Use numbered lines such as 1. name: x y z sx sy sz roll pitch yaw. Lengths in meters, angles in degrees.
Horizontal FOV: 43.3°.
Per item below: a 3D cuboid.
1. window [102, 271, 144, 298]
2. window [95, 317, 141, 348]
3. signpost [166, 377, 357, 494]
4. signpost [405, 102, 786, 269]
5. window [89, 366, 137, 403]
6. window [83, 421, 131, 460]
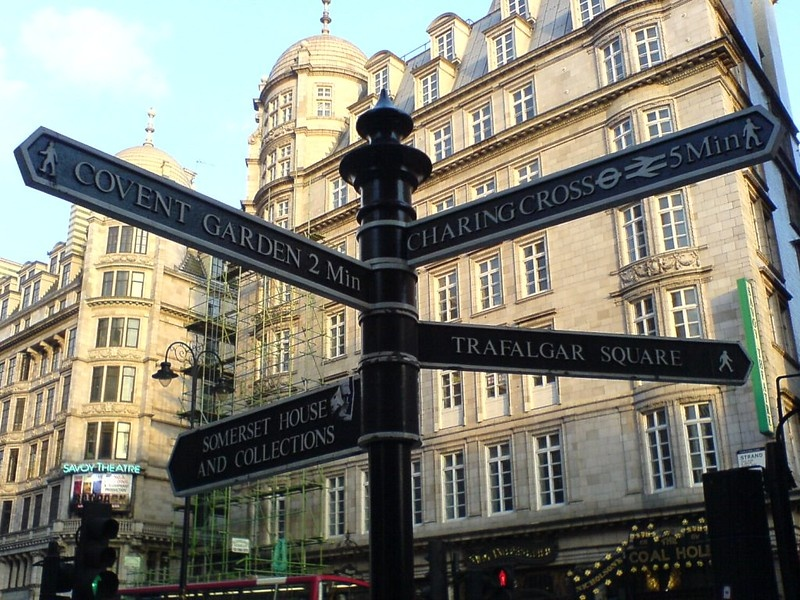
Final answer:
1. window: -16.227 -0.858 58.765 1.779 1.247 0.149 -3 -30 -7
2. window: -16.108 1.900 57.674 1.989 1.392 0.158 0 -27 -4
3. signpost: -1.720 1.764 12.965 2.770 1.400 0.482 -14 -1 19
4. signpost: 2.443 -1.447 12.689 4.675 0.969 0.379 -13 -1 6
5. window: -15.999 4.777 56.431 2.312 2.180 0.142 -1 -29 -1
6. window: -15.943 7.738 55.031 2.380 2.244 0.166 0 -32 -5
